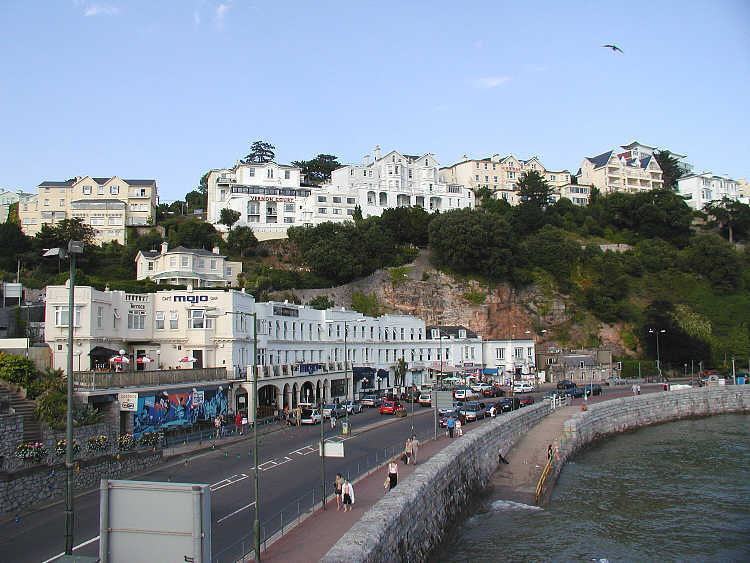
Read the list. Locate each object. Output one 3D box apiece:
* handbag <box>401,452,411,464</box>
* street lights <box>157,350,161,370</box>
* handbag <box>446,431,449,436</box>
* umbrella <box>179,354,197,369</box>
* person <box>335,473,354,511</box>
[{"bbox_3d":[2.269,12.648,66.362,0.510,1.152,0.694,-1,-11,4],"label":"handbag"},{"bbox_3d":[-19.859,7.189,86.681,0.399,1.587,0.741,-2,-4,-13],"label":"street lights"},{"bbox_3d":[6.049,12.530,76.684,0.346,0.373,0.657,-4,-5,3],"label":"handbag"},{"bbox_3d":[-16.828,7.326,84.829,1.534,1.544,1.603,-1,-8,9],"label":"umbrella"},{"bbox_3d":[-1.833,13.018,57.822,1.054,2.262,1.575,-2,-4,-4],"label":"person"}]
